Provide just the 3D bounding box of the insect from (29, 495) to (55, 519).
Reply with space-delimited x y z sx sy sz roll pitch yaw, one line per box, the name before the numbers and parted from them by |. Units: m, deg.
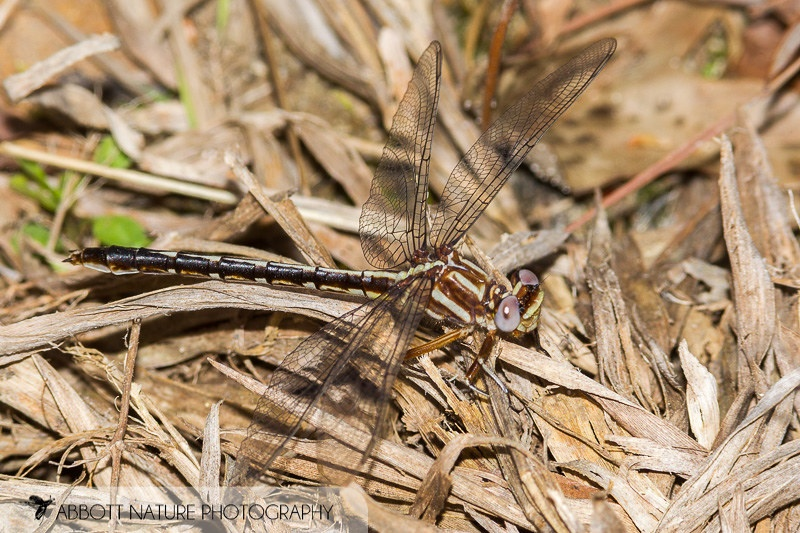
insect | -2.044 1.357 4.641 0.128 0.126 0.067 29 14 23
